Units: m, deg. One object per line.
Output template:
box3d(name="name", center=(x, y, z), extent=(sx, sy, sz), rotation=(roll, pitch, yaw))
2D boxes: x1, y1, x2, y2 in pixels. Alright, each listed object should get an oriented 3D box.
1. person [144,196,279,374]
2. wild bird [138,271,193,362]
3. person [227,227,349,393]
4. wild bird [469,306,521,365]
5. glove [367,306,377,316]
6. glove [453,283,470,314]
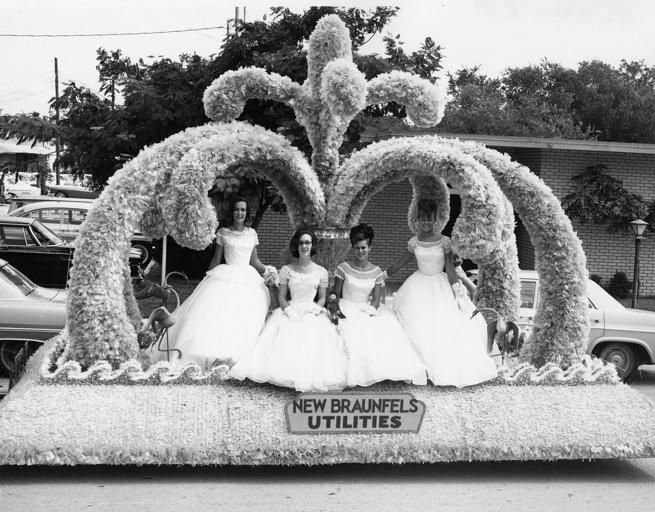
box3d(name="person", center=(-1.101, 0.307, 8.227), extent=(1.440, 1.788, 1.152), rotation=(8, -11, -23))
box3d(name="wild bird", center=(-1.752, 0.655, 7.958), extent=(0.629, 1.027, 0.359), rotation=(8, 18, 14))
box3d(name="person", center=(-0.318, 0.485, 7.424), extent=(1.034, 1.390, 1.007), rotation=(1, 11, 1))
box3d(name="wild bird", center=(1.831, 0.869, 8.166), extent=(0.705, 0.727, 0.258), rotation=(-6, 14, -32))
box3d(name="glove", center=(0.450, 0.556, 7.742), extent=(0.077, 0.084, 0.077), rotation=(-1, 4, -23))
box3d(name="glove", center=(1.398, 0.435, 7.933), extent=(0.183, 0.308, 0.083), rotation=(-22, -16, 5))
